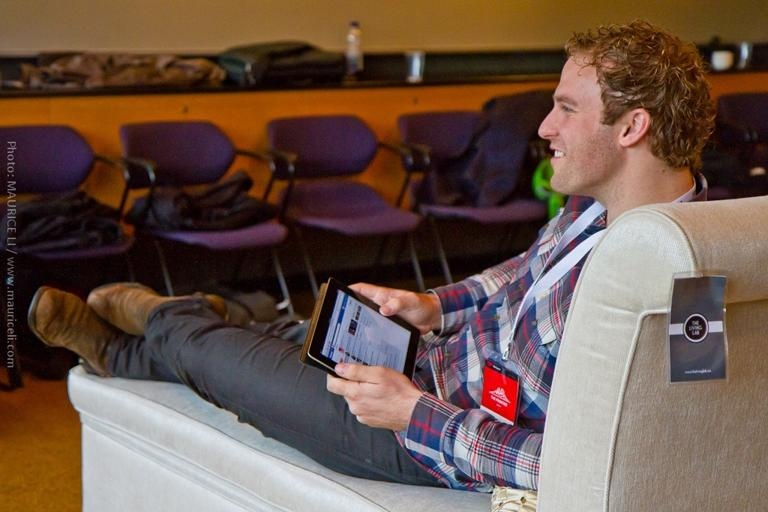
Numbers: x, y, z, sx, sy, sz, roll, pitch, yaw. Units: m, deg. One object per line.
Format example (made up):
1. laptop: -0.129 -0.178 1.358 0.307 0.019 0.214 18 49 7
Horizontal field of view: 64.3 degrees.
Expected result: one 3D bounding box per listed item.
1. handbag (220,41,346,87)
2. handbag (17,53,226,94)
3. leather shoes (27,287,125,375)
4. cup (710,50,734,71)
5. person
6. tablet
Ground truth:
1. handbag: -0.402 -0.720 2.453 0.348 0.108 0.209 -4 9 -28
2. handbag: -0.966 -0.657 2.206 0.438 0.080 0.233 -2 5 -18
3. leather shoes: -1.031 0.244 2.061 0.185 0.306 0.106 0 53 42
4. cup: 1.893 -1.089 3.445 0.139 0.099 0.134 -3 19 1
5. person: -0.151 -0.130 2.062 2.091 1.259 1.012 6 19 25
6. tablet: -0.040 0.211 1.578 0.267 0.274 0.024 24 39 13
